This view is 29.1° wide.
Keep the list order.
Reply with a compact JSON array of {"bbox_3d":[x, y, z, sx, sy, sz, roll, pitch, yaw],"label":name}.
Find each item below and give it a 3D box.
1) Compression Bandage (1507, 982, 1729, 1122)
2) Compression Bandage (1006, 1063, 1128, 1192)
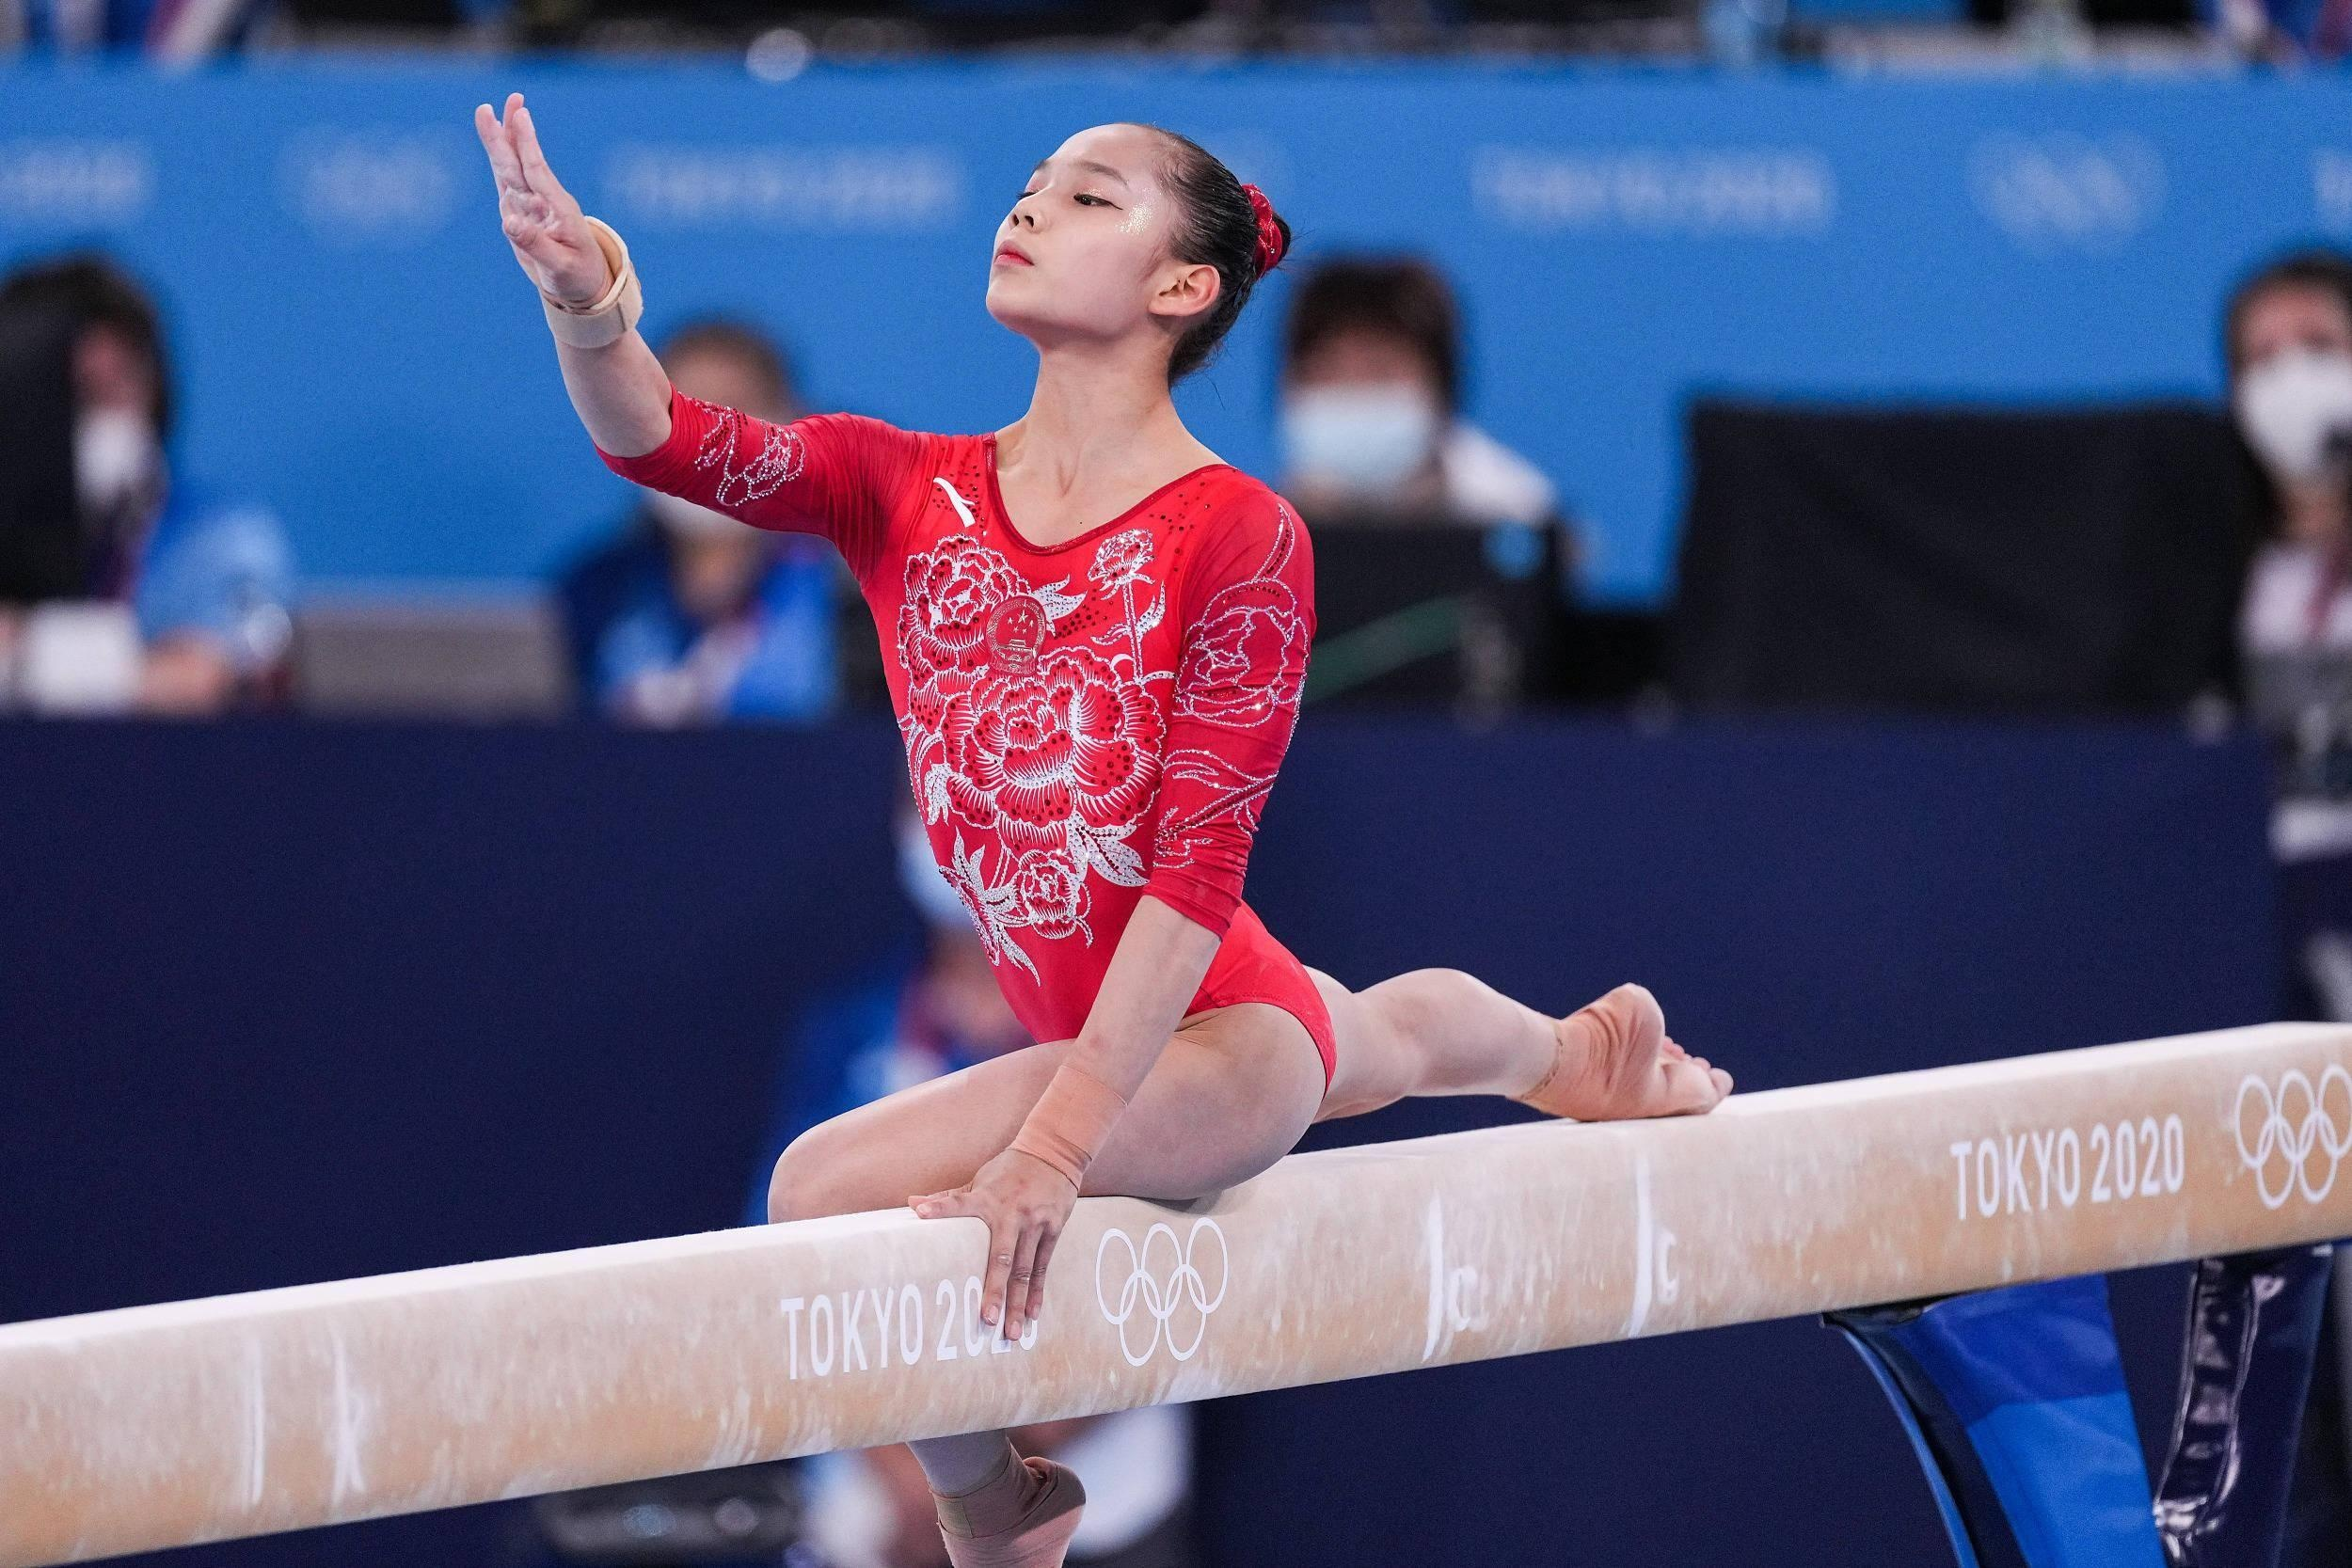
[{"bbox_3d":[0.702,0.409,7.054,0.434,0.218,0.142,-2,22,-33],"label":"Compression Bandage"},{"bbox_3d":[-0.146,0.504,6.622,0.103,0.074,0.134,42,65,-16],"label":"Compression Bandage"}]
